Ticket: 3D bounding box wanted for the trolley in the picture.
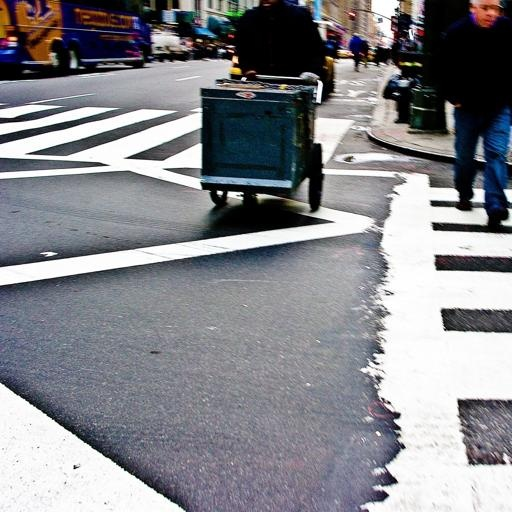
[{"bbox_3d":[0.087,-1.354,6.073,1.393,1.380,1.846,6,18,12],"label":"trolley"}]
